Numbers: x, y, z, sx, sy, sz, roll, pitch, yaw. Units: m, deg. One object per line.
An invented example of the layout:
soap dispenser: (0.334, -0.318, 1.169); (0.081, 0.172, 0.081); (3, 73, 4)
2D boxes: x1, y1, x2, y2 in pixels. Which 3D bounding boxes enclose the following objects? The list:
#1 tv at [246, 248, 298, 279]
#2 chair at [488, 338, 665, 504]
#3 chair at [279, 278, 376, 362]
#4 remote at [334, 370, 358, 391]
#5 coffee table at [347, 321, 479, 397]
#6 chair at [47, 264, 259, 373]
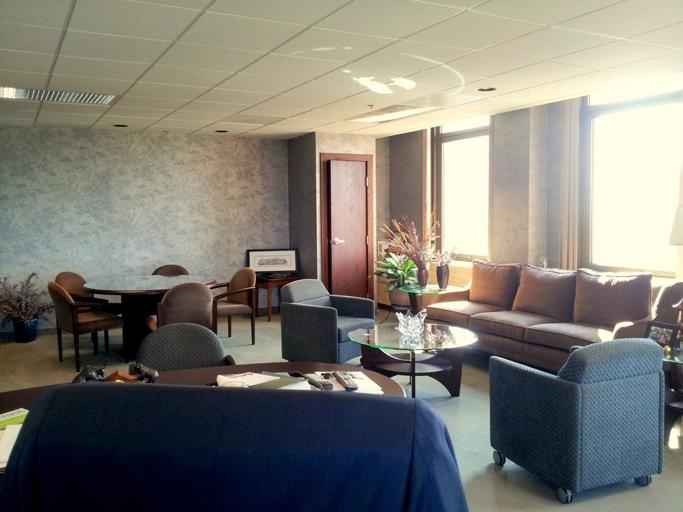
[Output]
tv: (-1.123, 0.121, 7.811); (0.713, 0.301, 0.026); (0, -15, -10)
chair: (1.452, 0.907, 3.215); (0.954, 0.973, 1.103); (-2, 3, -21)
chair: (-0.194, 0.627, 5.459); (1.125, 0.939, 1.042); (0, 1, 31)
remote: (0.023, 0.617, 2.439); (0.074, 0.022, 0.131); (0, 5, -11)
coffee table: (0.682, 0.724, 4.097); (0.892, 0.322, 0.824); (-5, 8, -32)
chair: (-2.063, 0.659, 5.629); (2.296, 1.099, 1.847); (2, -3, -27)
